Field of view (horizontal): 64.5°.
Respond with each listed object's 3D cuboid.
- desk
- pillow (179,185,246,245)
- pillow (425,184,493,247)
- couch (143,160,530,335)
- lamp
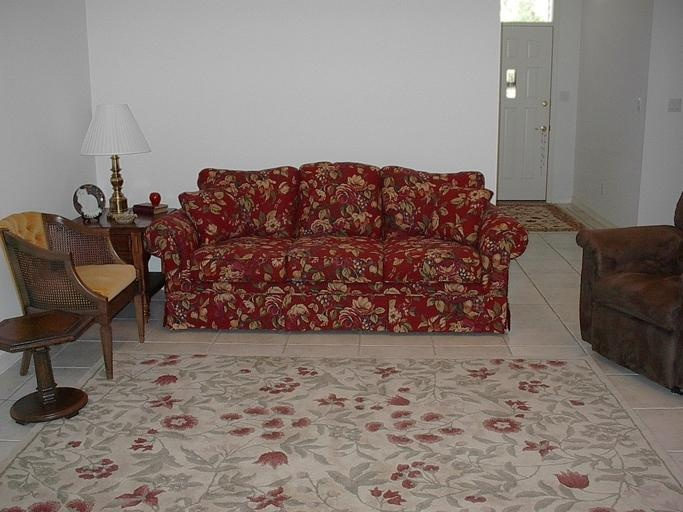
[{"bbox_3d":[-1.476,0.009,4.075,1.042,0.765,0.804,-1,13,0],"label":"desk"},{"bbox_3d":[-0.907,-0.275,3.859,0.489,0.392,0.144,-22,-3,-42],"label":"pillow"},{"bbox_3d":[0.862,-0.256,3.881,0.492,0.409,0.144,18,-6,33],"label":"pillow"},{"bbox_3d":[-0.021,-0.028,3.872,2.415,1.095,0.744,0,13,3],"label":"couch"},{"bbox_3d":[-1.729,-0.720,4.055,0.457,0.823,0.666,-9,15,-30],"label":"lamp"}]
